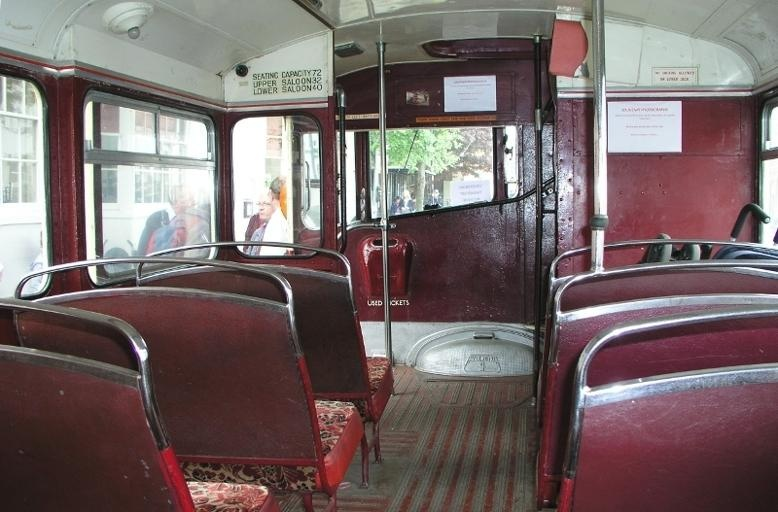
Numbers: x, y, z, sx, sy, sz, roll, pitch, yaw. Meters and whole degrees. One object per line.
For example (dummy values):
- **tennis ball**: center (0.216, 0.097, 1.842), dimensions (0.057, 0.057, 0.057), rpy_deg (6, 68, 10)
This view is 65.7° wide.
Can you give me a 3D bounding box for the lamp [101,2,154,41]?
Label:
- **lamp**: center (-1.756, -1.593, 4.048), dimensions (0.215, 0.209, 0.329), rpy_deg (5, 11, 31)
